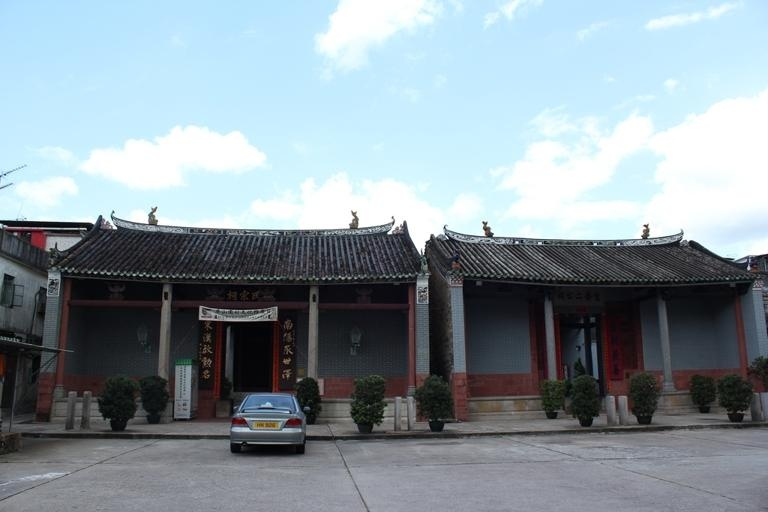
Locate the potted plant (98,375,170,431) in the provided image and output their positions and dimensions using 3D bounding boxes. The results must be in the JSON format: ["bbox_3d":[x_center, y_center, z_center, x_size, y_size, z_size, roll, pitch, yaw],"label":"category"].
[{"bbox_3d":[-7.919,4.644,18.311,1.034,1.710,2.145,-4,-16,8],"label":"potted plant"}]

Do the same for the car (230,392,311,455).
[{"bbox_3d":[-2.836,4.157,14.180,1.751,1.394,0.885,2,-16,-11],"label":"car"}]
